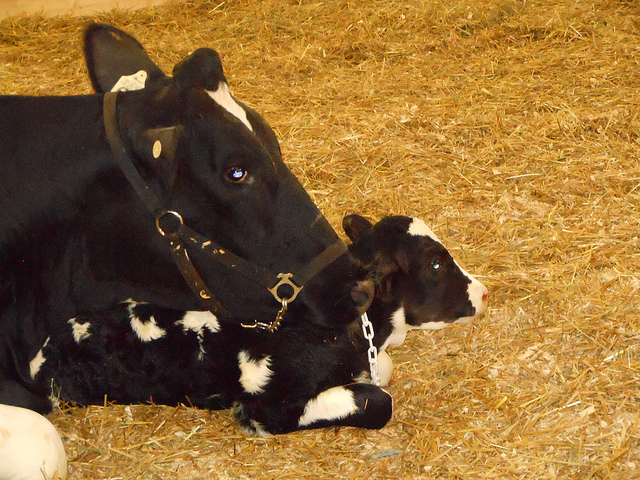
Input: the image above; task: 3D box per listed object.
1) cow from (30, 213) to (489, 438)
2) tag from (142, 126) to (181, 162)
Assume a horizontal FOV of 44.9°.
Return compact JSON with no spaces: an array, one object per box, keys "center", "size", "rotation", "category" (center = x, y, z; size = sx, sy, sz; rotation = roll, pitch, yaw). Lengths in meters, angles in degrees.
[{"center":[-0.491,0.503,5.316],"size":[3.295,1.344,1.171],"rotation":[-1,15,-5],"category":"cow"},{"center":[-0.847,-0.518,4.142],"size":[0.209,0.141,0.116],"rotation":[5,35,11],"category":"tag"}]
